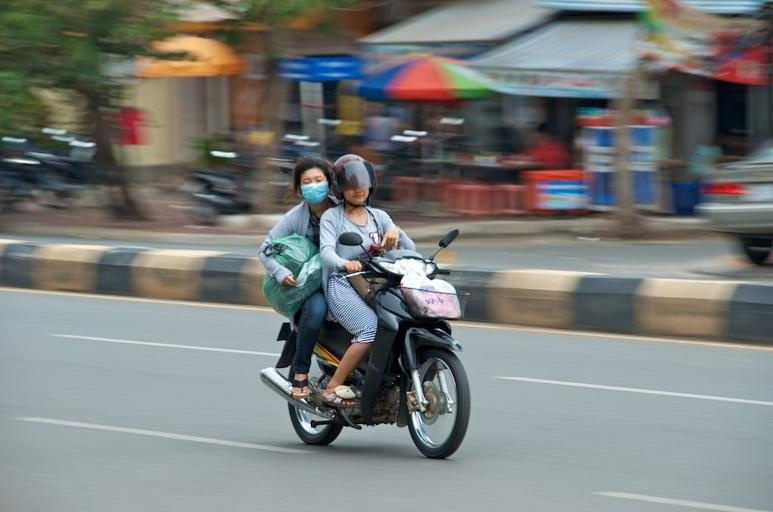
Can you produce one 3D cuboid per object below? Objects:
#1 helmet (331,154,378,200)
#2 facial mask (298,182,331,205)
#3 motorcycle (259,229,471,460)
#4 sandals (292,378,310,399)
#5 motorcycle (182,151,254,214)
[{"bbox_3d":[-0.225,-0.639,7.681,0.317,0.308,0.363,-2,-2,-25],"label":"helmet"},{"bbox_3d":[-0.562,-0.491,7.718,0.189,0.108,0.191,-1,12,-1],"label":"facial mask"},{"bbox_3d":[-0.047,0.696,7.404,1.571,1.783,0.495,6,16,23],"label":"motorcycle"},{"bbox_3d":[-0.664,1.036,7.612,0.204,0.113,0.477,1,-1,-10],"label":"sandals"},{"bbox_3d":[-3.129,-1.326,19.258,1.041,1.016,1.843,2,-5,-40],"label":"motorcycle"}]
